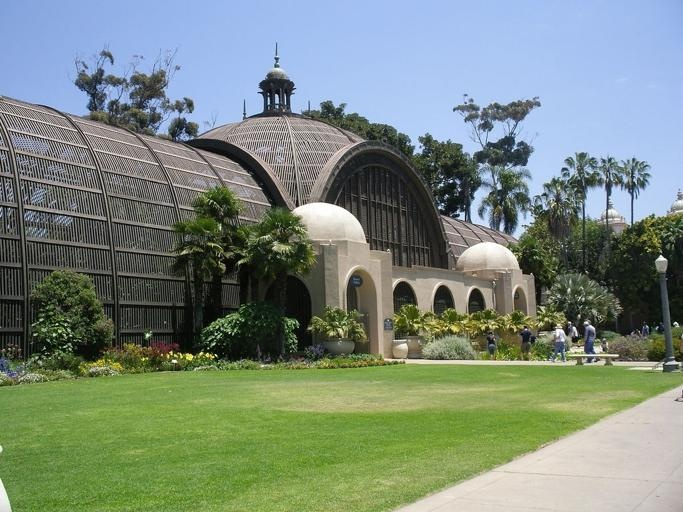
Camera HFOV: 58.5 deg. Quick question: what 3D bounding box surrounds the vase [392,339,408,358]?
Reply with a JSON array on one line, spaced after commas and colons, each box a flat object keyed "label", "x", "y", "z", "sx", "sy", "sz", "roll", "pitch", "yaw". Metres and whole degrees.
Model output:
[{"label": "vase", "x": 3.504, "y": 5.617, "z": 36.530, "sx": 0.848, "sy": 0.998, "sz": 0.931, "roll": -3, "pitch": -16, "yaw": 15}]

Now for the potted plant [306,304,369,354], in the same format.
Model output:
[{"label": "potted plant", "x": -0.188, "y": 4.011, "z": 33.164, "sx": 2.406, "sy": 2.392, "sz": 2.669, "roll": 1, "pitch": -14, "yaw": -1}]

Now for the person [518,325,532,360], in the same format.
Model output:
[{"label": "person", "x": 10.095, "y": 4.872, "z": 33.531, "sx": 0.491, "sy": 1.581, "sz": 2.180, "roll": -2, "pitch": -5, "yaw": 15}]
